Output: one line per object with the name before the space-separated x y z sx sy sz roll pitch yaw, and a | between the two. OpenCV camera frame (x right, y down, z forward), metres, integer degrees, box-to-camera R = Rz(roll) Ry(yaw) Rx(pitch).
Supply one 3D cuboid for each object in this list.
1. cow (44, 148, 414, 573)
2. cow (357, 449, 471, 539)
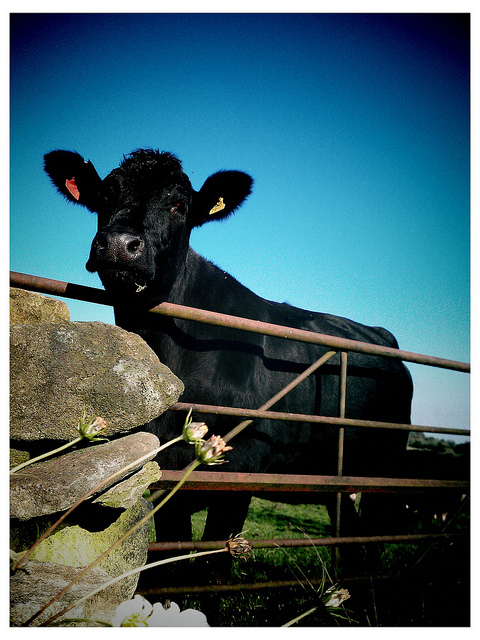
cow | 0.045 0.562 5.715 1.078 2.603 3.717 6 -6 39
cow | 1.358 1.446 6.490 0.283 1.078 1.178 16 -21 -28
